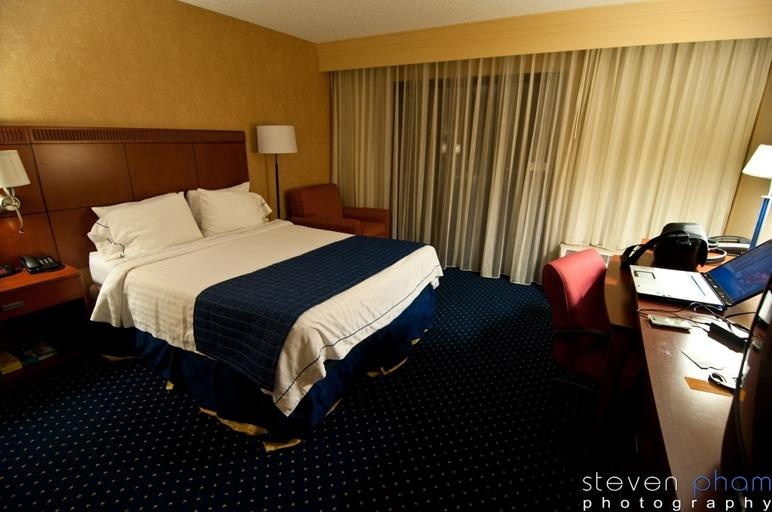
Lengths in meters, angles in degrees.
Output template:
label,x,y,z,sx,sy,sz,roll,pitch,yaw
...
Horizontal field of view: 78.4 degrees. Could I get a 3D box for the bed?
label,x,y,z,sx,sy,sz,roll,pitch,yaw
bed,-0.942,0.471,4.511,2.193,1.080,2.163,12,25,29

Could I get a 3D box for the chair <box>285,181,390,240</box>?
label,x,y,z,sx,sy,sz,roll,pitch,yaw
chair,-0.584,-0.569,6.190,0.957,0.957,0.870,8,24,26

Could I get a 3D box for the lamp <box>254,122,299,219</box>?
label,x,y,z,sx,sy,sz,roll,pitch,yaw
lamp,-1.333,-1.011,5.853,0.439,1.190,0.510,-9,23,-18

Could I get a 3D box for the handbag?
label,x,y,z,sx,sy,sz,roll,pitch,yaw
handbag,2.414,-0.052,4.081,0.652,0.314,0.777,-2,3,-32
